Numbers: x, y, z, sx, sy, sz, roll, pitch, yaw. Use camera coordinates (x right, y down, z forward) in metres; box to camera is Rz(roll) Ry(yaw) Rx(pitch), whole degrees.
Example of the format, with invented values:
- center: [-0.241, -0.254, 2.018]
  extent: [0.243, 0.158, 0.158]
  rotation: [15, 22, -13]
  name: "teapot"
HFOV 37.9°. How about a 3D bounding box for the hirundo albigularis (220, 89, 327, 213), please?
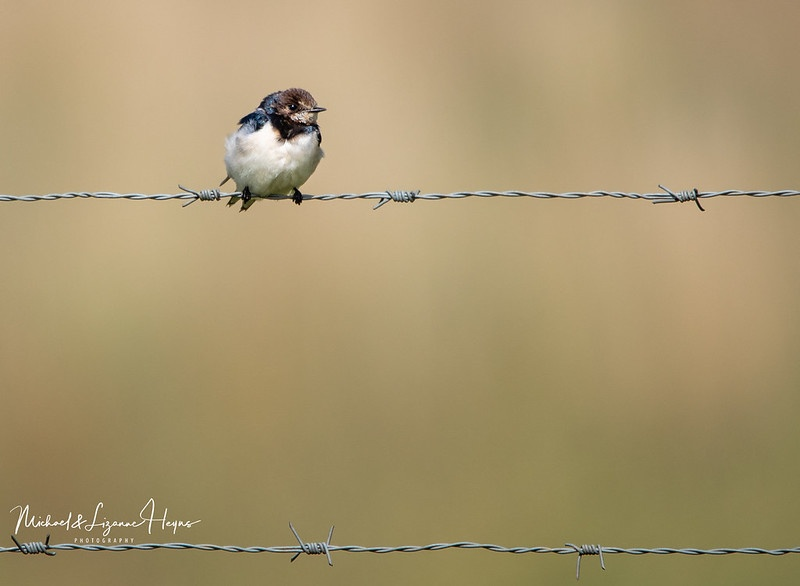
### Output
- center: [-0.874, -0.940, 8.090]
  extent: [0.668, 0.779, 0.634]
  rotation: [-6, -51, 3]
  name: "hirundo albigularis"
